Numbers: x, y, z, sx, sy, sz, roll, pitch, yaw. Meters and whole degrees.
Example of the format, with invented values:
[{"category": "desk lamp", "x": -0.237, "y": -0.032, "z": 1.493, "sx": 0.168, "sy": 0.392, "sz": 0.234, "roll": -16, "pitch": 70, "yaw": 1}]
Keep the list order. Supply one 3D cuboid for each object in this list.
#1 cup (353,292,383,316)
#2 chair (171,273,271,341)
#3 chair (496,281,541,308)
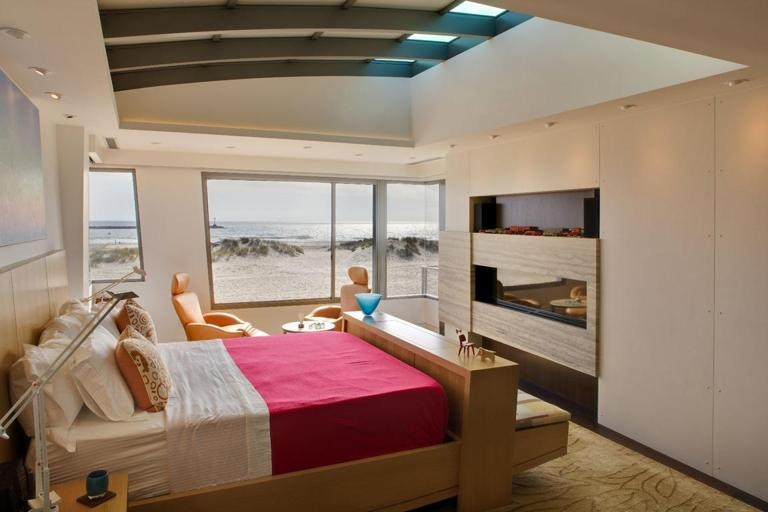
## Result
[{"category": "cup", "x": -0.166, "y": 0.503, "z": 5.493, "sx": 0.295, "sy": 0.180, "sz": 0.241, "roll": -1, "pitch": -1, "yaw": -9}, {"category": "chair", "x": -2.307, "y": 0.661, "z": 7.052, "sx": 1.350, "sy": 1.135, "sz": 0.888, "roll": 0, "pitch": 4, "yaw": -19}, {"category": "chair", "x": 1.638, "y": 0.488, "z": 6.267, "sx": 0.400, "sy": 0.294, "sz": 0.257, "roll": -3, "pitch": 4, "yaw": 3}]
